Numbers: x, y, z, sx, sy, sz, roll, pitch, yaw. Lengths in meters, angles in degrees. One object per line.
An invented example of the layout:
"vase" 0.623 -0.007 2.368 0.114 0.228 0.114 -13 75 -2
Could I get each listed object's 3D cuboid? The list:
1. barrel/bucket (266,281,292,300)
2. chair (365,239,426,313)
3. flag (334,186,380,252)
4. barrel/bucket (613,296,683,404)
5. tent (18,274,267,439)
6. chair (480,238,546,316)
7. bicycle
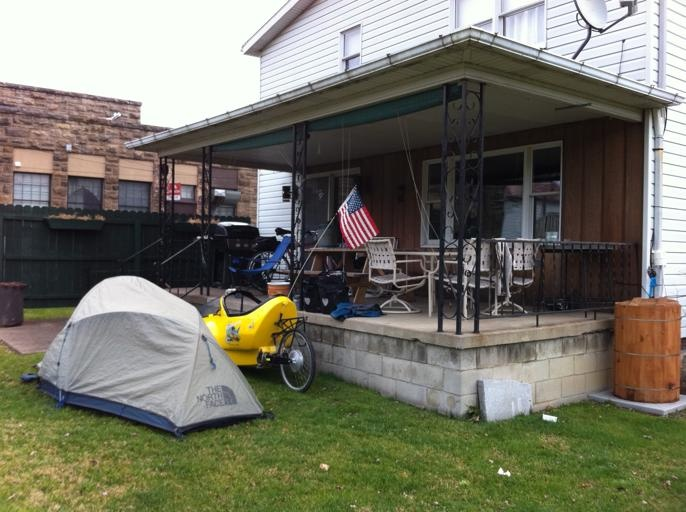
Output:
"barrel/bucket" -1.035 0.576 10.409 0.335 0.275 0.657 -4 14 -26
"chair" 0.848 0.303 10.068 0.871 1.200 0.915 2 4 30
"flag" 0.233 -0.569 10.254 0.533 1.110 0.516 0 8 -30
"barrel/bucket" 4.303 1.225 8.933 0.631 1.477 0.851 1 1 30
"tent" -2.423 1.427 8.001 2.151 1.923 2.037 -1 10 -45
"chair" 2.634 0.301 9.515 0.723 0.977 0.782 9 -8 -15
"bicycle" -1.448 0.096 13.093 0.913 1.653 0.956 -2 7 -38
